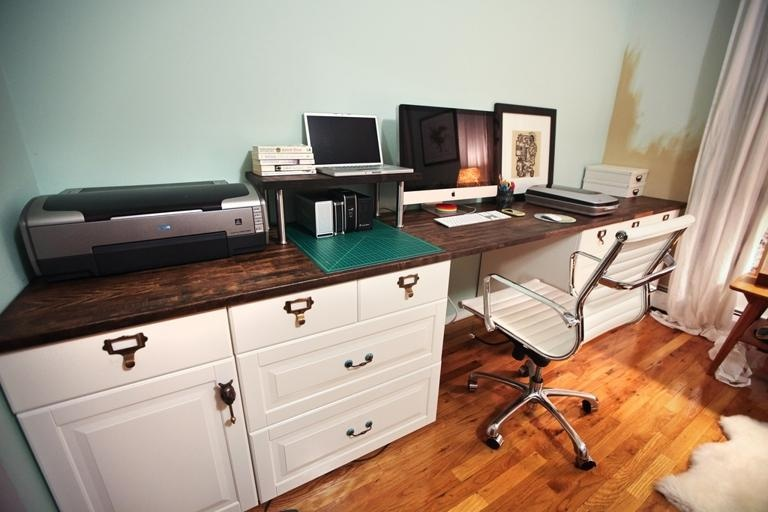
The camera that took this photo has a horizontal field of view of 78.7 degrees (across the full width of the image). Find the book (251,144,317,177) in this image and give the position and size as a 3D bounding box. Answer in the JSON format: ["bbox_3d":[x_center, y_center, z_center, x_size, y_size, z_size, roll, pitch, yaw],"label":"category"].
[{"bbox_3d":[-0.518,-0.550,2.443,0.269,0.121,0.189,-11,23,-32],"label":"book"}]

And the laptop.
[{"bbox_3d":[-0.137,-0.619,2.577,0.565,0.322,0.442,-12,29,-33],"label":"laptop"}]

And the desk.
[{"bbox_3d":[-0.297,0.201,2.532,3.104,1.122,0.839,-14,27,-29],"label":"desk"}]

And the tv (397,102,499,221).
[{"bbox_3d":[0.371,-0.592,2.909,0.836,0.591,0.080,-6,14,-31],"label":"tv"}]

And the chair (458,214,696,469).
[{"bbox_3d":[0.980,0.391,2.740,0.966,1.279,0.978,-10,18,-39],"label":"chair"}]

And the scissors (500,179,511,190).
[{"bbox_3d":[0.822,-0.482,3.175,0.041,0.050,0.126,19,33,40],"label":"scissors"}]

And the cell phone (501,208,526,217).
[{"bbox_3d":[0.835,-0.282,3.047,0.140,0.023,0.224,-7,14,-14],"label":"cell phone"}]
